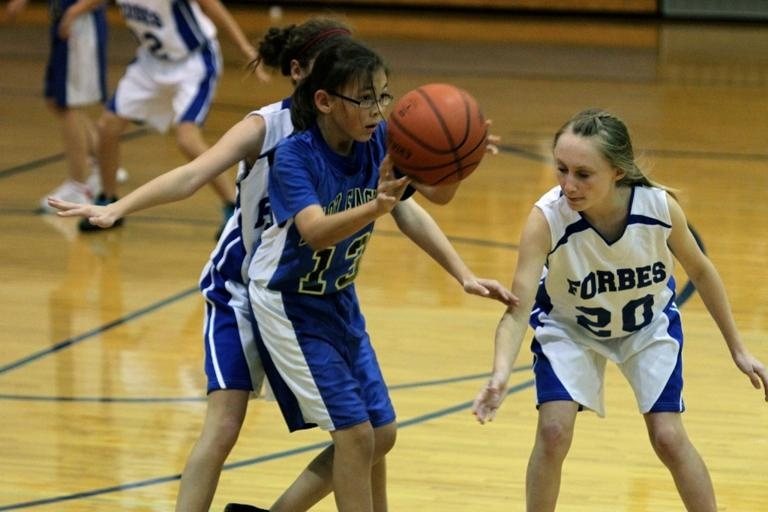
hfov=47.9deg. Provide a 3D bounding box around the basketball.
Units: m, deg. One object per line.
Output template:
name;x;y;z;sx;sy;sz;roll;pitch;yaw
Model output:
basketball;0.216;-0.449;3.042;0.346;0.343;0.353;2;16;10
